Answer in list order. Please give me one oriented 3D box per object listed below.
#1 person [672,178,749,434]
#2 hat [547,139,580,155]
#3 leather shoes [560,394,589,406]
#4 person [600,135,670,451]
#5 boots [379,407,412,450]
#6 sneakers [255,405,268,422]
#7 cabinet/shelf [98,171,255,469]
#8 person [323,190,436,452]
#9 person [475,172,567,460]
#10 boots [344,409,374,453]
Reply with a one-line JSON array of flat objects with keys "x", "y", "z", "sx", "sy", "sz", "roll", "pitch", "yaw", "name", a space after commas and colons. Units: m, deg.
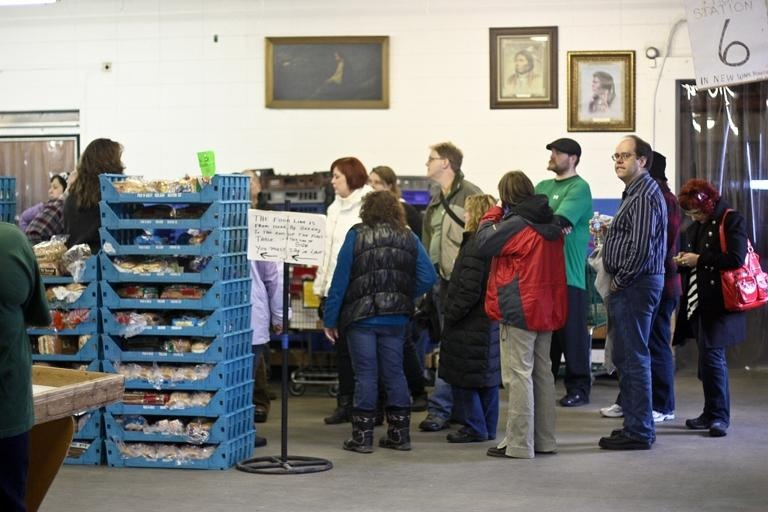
[{"x": 2.940, "y": 0.455, "z": 9.725, "sx": 0.610, "sy": 2.261, "sz": 0.504, "roll": 5, "pitch": 10, "yaw": 31, "name": "person"}, {"x": 1.676, "y": -1.003, "z": 9.937, "sx": 0.226, "sy": 0.124, "sz": 0.171, "roll": 9, "pitch": 4, "yaw": -1, "name": "hat"}, {"x": 1.875, "y": 1.441, "z": 10.665, "sx": 0.219, "sy": 0.099, "sz": 0.118, "roll": 4, "pitch": -4, "yaw": -24, "name": "leather shoes"}, {"x": 2.157, "y": 0.321, "z": 9.312, "sx": 0.544, "sy": 2.659, "sz": 0.581, "roll": 2, "pitch": 8, "yaw": 14, "name": "person"}, {"x": 0.084, "y": 1.528, "z": 9.412, "sx": 0.165, "sy": 0.360, "sz": 0.346, "roll": 3, "pitch": -8, "yaw": -44, "name": "boots"}, {"x": -1.161, "y": 1.508, "z": 10.155, "sx": 0.088, "sy": 0.156, "sz": 0.149, "roll": 3, "pitch": 4, "yaw": 31, "name": "sneakers"}, {"x": -1.758, "y": 0.533, "z": 9.064, "sx": 1.275, "sy": 2.417, "sz": 0.798, "roll": -2, "pitch": 8, "yaw": -8, "name": "cabinet/shelf"}, {"x": -0.058, "y": 0.570, "z": 9.288, "sx": 0.916, "sy": 2.226, "sz": 0.439, "roll": -1, "pitch": 8, "yaw": -4, "name": "person"}, {"x": 1.168, "y": 0.498, "z": 9.085, "sx": 0.745, "sy": 2.390, "sz": 0.507, "roll": 1, "pitch": 8, "yaw": 10, "name": "person"}, {"x": -0.220, "y": 1.544, "z": 9.392, "sx": 0.187, "sy": 0.402, "sz": 0.406, "roll": 5, "pitch": -6, "yaw": -34, "name": "boots"}]
